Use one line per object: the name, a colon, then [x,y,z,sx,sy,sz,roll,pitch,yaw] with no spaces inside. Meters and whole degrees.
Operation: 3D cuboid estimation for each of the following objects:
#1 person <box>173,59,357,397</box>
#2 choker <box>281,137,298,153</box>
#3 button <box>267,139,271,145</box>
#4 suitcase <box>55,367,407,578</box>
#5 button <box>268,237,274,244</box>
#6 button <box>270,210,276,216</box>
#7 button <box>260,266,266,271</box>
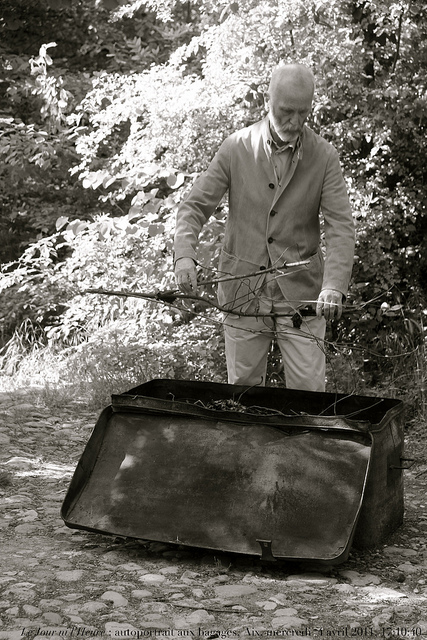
person: [0.223,-0.393,3.834,0.814,1.476,0.599,2,8,8]
choker: [0.349,-0.784,3.829,0.059,0.056,0.098,-1,7,-12]
button: [0.249,-0.810,3.864,0.018,0.024,0.007,2,6,25]
suitcase: [0.045,0.617,3.456,1.112,0.437,0.829,4,5,24]
button: [0.262,-0.365,3.895,0.033,0.031,0.010,-1,3,4]
button: [0.268,-0.487,3.872,0.015,0.036,0.021,-32,68,-22]
button: [0.226,-0.239,3.899,0.027,0.015,0.017,0,7,-6]
